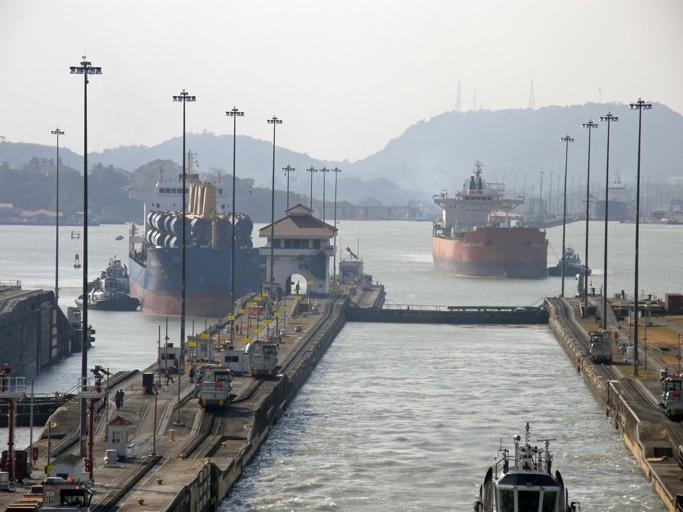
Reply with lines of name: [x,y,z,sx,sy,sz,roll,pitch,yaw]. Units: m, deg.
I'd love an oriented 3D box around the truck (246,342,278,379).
truck: [-5.942,7.862,102.145,1.661,1.681,2.956,0,-1,-1]

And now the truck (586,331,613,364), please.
truck: [20.595,7.215,107.435,1.572,2.485,1.395,-1,3,3]

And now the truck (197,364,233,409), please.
truck: [-8.653,9.107,92.756,1.790,1.883,3.082,0,-2,-2]
